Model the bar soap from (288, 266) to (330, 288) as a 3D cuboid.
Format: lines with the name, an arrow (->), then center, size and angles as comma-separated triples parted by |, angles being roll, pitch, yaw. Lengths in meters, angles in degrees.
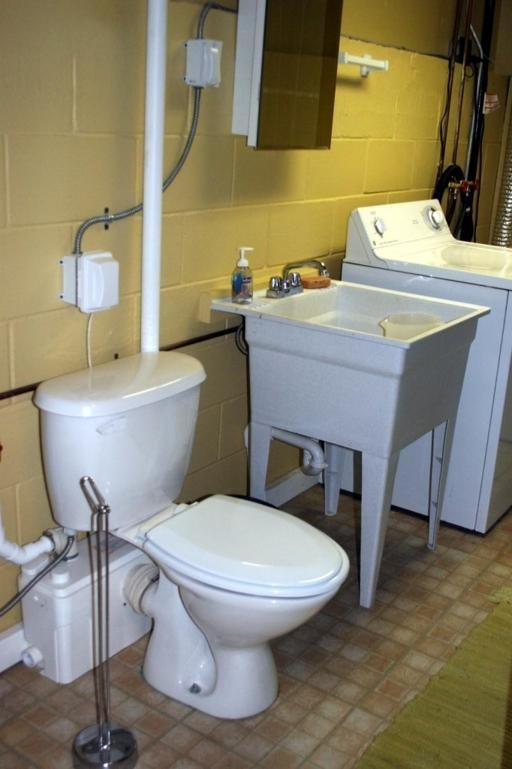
bar soap -> 0.173, -0.342, 1.939 | 0.130, 0.075, 0.096 | -13, 20, -35

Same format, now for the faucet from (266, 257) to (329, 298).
faucet -> 0.127, -0.347, 1.891 | 0.102, 0.106, 0.262 | 14, 24, 37

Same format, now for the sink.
sink -> 0.258, -0.088, 1.711 | 0.639, 0.344, 0.512 | 15, 26, 36

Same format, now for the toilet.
toilet -> -0.130, 0.201, 1.508 | 0.756, 0.803, 0.554 | 14, 24, 29
